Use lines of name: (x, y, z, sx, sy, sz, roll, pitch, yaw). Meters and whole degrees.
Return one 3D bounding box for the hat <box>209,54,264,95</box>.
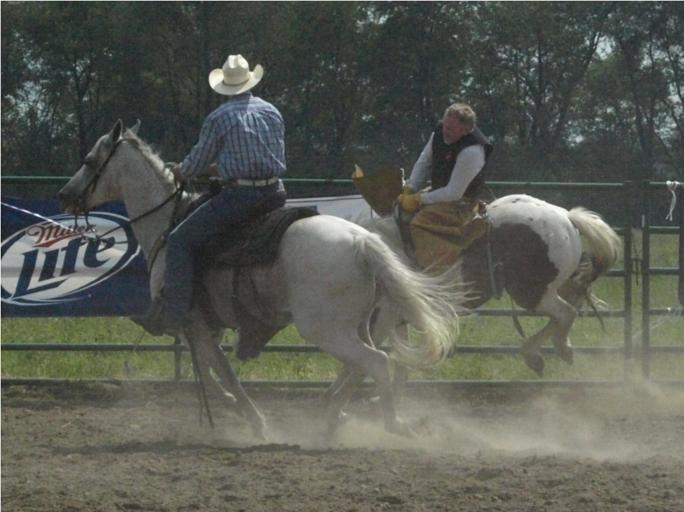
hat: (-2.316, -3.809, 32.177, 0.781, 0.353, 0.880, -12, -5, 32)
